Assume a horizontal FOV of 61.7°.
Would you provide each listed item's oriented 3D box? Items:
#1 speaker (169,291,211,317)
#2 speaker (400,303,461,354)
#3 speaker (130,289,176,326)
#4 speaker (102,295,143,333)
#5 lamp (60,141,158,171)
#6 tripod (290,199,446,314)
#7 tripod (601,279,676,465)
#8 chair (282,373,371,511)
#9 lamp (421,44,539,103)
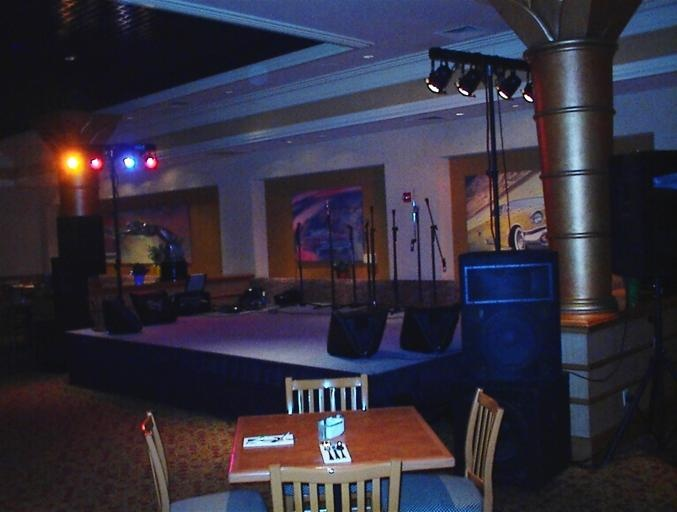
[{"bbox_3d":[-2.291,0.747,8.958,0.449,0.212,0.339,1,4,34],"label":"speaker"},{"bbox_3d":[0.989,0.660,5.815,0.561,0.585,0.412,-3,16,5],"label":"speaker"},{"bbox_3d":[-2.648,0.727,8.138,0.501,0.419,0.503,-1,0,-37],"label":"speaker"},{"bbox_3d":[-2.802,0.781,7.512,0.557,0.610,0.446,-13,-12,30],"label":"speaker"},{"bbox_3d":[-3.757,-1.654,9.224,0.976,0.278,0.914,-8,9,-44],"label":"lamp"},{"bbox_3d":[0.311,-0.174,9.477,0.929,1.918,3.378,-8,8,-42],"label":"tripod"},{"bbox_3d":[2.795,0.928,5.043,0.423,1.552,1.278,3,8,44],"label":"tripod"},{"bbox_3d":[-0.174,1.207,4.459,0.635,1.222,0.763,-1,4,-5],"label":"chair"},{"bbox_3d":[1.582,-1.877,5.910,1.320,0.531,0.206,2,2,-5],"label":"lamp"}]
